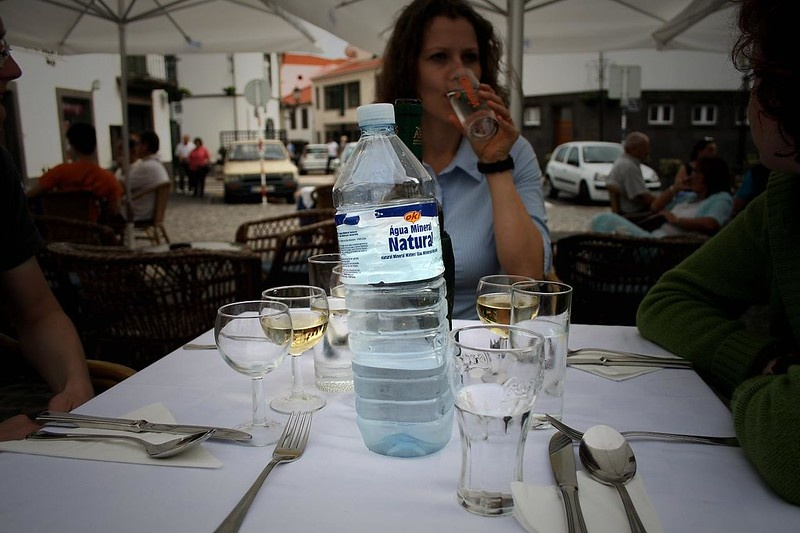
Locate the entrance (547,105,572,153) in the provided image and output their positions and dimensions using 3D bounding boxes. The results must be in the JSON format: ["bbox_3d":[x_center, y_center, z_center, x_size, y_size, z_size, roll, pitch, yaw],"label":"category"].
[{"bbox_3d":[1.671,-1.445,6.316,0.329,0.643,0.048,9,32,32],"label":"entrance"}]

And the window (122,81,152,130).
[{"bbox_3d":[-2.879,-1.658,6.681,0.262,0.474,0.156,-1,6,-40],"label":"window"}]

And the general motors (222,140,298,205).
[{"bbox_3d":[-2.093,-1.400,9.050,1.205,1.117,2.373,-3,5,-15],"label":"general motors"}]

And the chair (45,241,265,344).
[{"bbox_3d":[-1.236,0.087,3.101,0.800,0.463,0.980,3,13,36],"label":"chair"}]

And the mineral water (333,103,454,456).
[{"bbox_3d":[-0.009,0.036,1.849,0.330,1.051,0.335,-6,6,-14],"label":"mineral water"}]

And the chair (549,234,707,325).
[{"bbox_3d":[1.259,0.061,3.453,0.600,0.692,0.610,0,35,9],"label":"chair"}]

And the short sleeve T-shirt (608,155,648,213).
[{"bbox_3d":[1.860,-0.662,4.909,0.195,0.341,0.394,-14,20,3],"label":"short sleeve T-shirt"}]

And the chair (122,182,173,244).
[{"bbox_3d":[-2.619,-0.518,6.276,0.515,0.689,0.547,-3,17,-24],"label":"chair"}]

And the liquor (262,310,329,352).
[{"bbox_3d":[-0.324,0.198,1.901,0.140,0.111,0.145,0,-3,-5],"label":"liquor"}]

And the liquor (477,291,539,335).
[{"bbox_3d":[0.356,0.156,2.008,0.126,0.191,0.113,1,1,-15],"label":"liquor"}]

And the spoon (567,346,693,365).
[{"bbox_3d":[0.790,0.320,2.103,0.412,0.025,0.136,-1,22,6],"label":"spoon"}]

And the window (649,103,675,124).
[{"bbox_3d":[2.188,-1.278,5.060,0.187,0.180,0.026,1,7,2],"label":"window"}]
